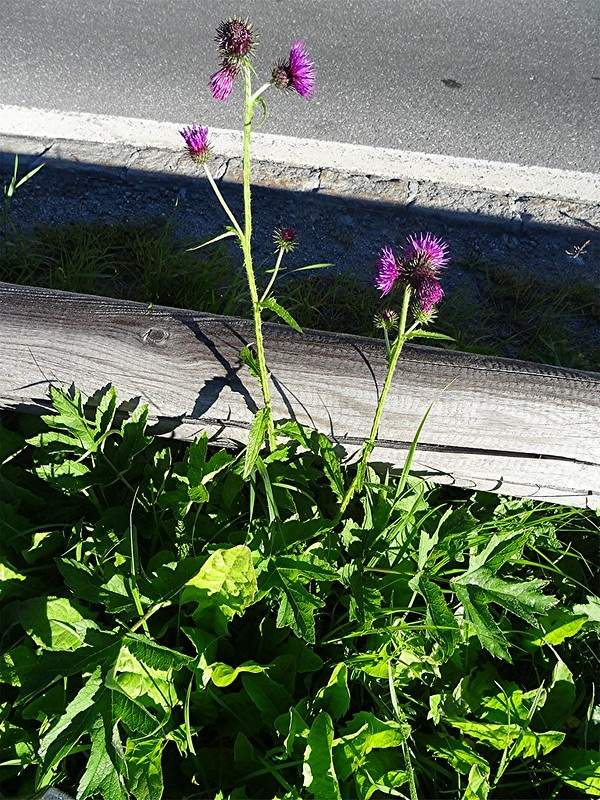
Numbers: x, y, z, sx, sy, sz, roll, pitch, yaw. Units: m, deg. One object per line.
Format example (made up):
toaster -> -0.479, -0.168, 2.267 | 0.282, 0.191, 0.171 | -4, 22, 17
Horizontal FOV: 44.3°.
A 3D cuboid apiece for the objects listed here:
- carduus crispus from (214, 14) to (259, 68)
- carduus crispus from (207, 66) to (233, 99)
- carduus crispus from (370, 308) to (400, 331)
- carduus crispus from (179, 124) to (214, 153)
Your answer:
carduus crispus -> -0.134, -0.761, 1.550 | 0.082, 0.129, 0.170 | 7, 11, -8
carduus crispus -> -0.162, -0.647, 1.536 | 0.050, 0.072, 0.043 | 16, -4, -3
carduus crispus -> 0.194, -0.178, 1.618 | 0.068, 0.042, 0.063 | -3, 12, 2
carduus crispus -> -0.250, -0.624, 1.757 | 0.061, 0.076, 0.169 | 7, 11, -10
